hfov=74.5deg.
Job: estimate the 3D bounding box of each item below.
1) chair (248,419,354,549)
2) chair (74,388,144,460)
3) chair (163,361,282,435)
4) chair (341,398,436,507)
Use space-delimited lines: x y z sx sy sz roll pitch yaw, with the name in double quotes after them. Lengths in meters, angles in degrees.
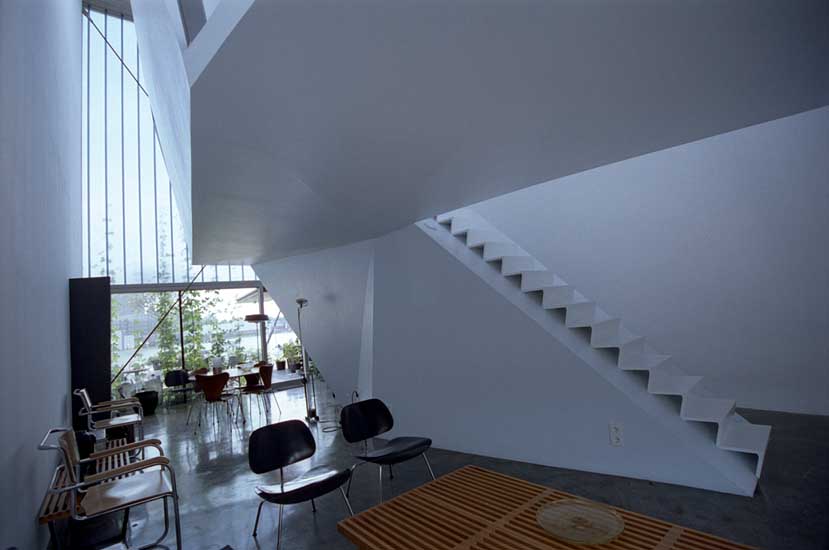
-1.286 2.387 6.027 1.152 1.253 0.879 1 -9 -44 "chair"
-4.221 2.069 7.543 0.795 0.985 0.612 -2 -2 -26 "chair"
-3.668 2.402 10.497 1.493 0.727 1.498 1 -7 -12 "chair"
-0.353 2.014 6.327 0.966 0.958 0.917 -2 2 -35 "chair"
